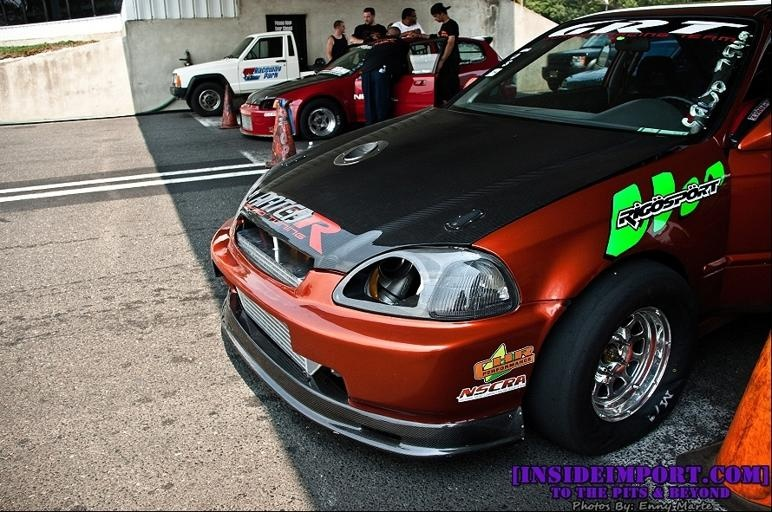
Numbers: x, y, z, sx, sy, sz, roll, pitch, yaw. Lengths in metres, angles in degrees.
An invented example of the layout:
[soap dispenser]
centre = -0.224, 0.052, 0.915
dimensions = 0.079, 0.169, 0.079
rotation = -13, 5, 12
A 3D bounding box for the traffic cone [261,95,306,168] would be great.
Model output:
[traffic cone]
centre = -1.565, -1.844, 6.998
dimensions = 0.650, 0.907, 0.580
rotation = 7, 29, 3
